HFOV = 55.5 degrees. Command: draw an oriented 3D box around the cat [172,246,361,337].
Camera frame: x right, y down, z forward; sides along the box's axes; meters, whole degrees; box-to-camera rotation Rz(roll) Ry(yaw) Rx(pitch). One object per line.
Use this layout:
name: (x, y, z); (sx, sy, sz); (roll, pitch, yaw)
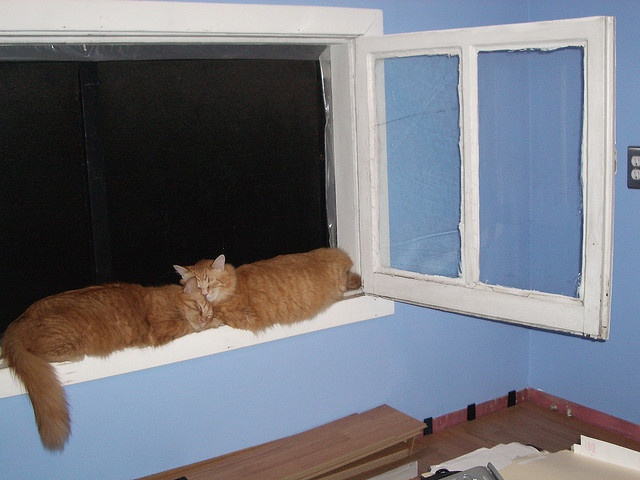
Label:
cat: (-0.226, 0.148, 3.046); (0.904, 0.452, 0.325); (-16, 32, -21)
